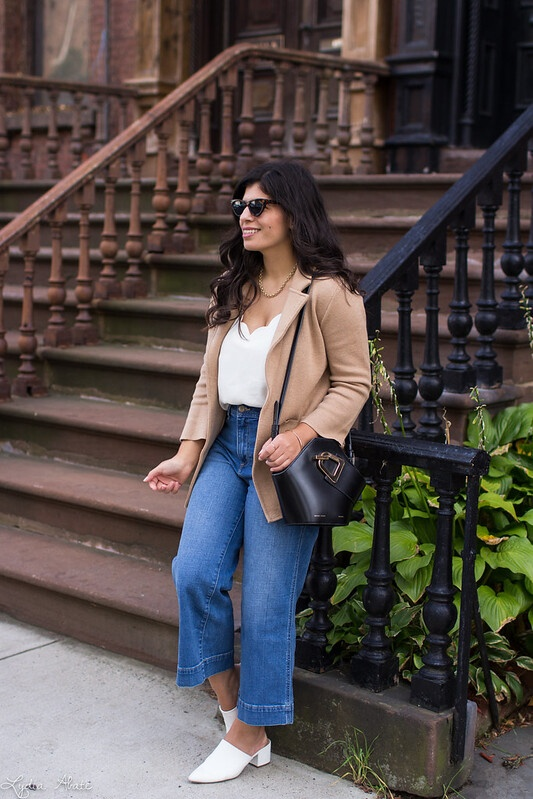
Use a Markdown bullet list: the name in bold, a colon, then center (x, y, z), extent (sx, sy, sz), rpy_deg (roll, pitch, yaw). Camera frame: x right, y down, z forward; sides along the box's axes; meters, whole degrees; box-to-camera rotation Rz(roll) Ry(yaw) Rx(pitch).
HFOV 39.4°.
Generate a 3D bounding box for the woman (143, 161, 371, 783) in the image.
- **woman**: center (0.063, 0.121, 2.056), extent (0.741, 1.622, 0.530), rpy_deg (2, 2, 30)

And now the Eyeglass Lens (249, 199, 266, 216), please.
- **Eyeglass Lens**: center (-0.022, -0.462, 1.783), extent (0.041, 0.018, 0.036), rpy_deg (18, -11, -37)

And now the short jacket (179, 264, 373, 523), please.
- **short jacket**: center (0.005, -0.026, 1.851), extent (0.439, 0.605, 0.329), rpy_deg (13, 21, 30)

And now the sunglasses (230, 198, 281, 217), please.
- **sunglasses**: center (-0.020, -0.468, 1.808), extent (0.067, 0.025, 0.069), rpy_deg (2, 2, -44)

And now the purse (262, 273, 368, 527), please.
- **purse**: center (0.119, 0.194, 1.678), extent (0.157, 0.225, 0.194), rpy_deg (2, 3, 23)
